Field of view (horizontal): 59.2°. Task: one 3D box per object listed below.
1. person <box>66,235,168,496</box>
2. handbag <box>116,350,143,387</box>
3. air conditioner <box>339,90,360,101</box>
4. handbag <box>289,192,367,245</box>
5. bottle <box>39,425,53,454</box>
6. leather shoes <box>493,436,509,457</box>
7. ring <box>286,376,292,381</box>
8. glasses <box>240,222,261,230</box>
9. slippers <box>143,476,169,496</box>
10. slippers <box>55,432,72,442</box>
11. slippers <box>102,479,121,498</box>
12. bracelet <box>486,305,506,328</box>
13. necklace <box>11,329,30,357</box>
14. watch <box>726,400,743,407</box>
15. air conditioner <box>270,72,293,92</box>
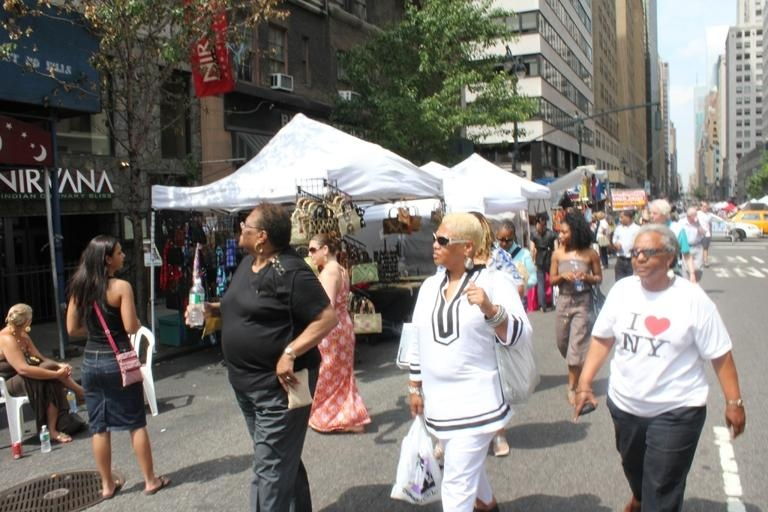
[{"bbox_3d":[-3.130,1.277,7.822,0.929,3.000,0.477,-5,5,-6],"label":"person"},{"bbox_3d":[-2.892,1.288,7.695,0.271,0.404,0.131,-9,-1,-40],"label":"handbag"},{"bbox_3d":[-1.209,-5.544,23.320,0.746,0.436,0.640,-5,6,7],"label":"air conditioner"},{"bbox_3d":[-0.920,-0.670,11.080,0.630,0.488,1.215,14,14,6],"label":"handbag"},{"bbox_3d":[-4.479,2.419,8.931,0.139,0.313,0.326,-7,6,-29],"label":"bottle"},{"bbox_3d":[1.438,2.354,8.280,0.102,0.276,0.350,-1,-18,8],"label":"leather shoes"},{"bbox_3d":[-0.908,1.193,6.507,0.040,0.048,0.012,-2,9,10],"label":"ring"},{"bbox_3d":[-1.340,-0.302,6.839,0.193,0.073,0.213,7,-1,-10],"label":"glasses"},{"bbox_3d":[-2.629,2.670,7.825,0.133,0.211,0.278,10,23,30],"label":"slippers"},{"bbox_3d":[-4.338,2.462,9.125,0.207,0.071,0.091,-2,-1,41],"label":"slippers"},{"bbox_3d":[-3.128,2.719,7.796,0.079,0.176,0.260,5,22,5],"label":"slippers"},{"bbox_3d":[1.056,0.581,6.277,0.072,0.189,0.168,28,-42,-26],"label":"bracelet"},{"bbox_3d":[-4.920,1.179,9.155,0.086,0.299,0.198,-7,3,25],"label":"necklace"},{"bbox_3d":[3.305,1.386,6.354,0.081,0.056,0.092,-1,-1,13],"label":"watch"},{"bbox_3d":[-3.292,-5.633,21.814,0.398,0.556,0.722,-1,8,34],"label":"air conditioner"}]
